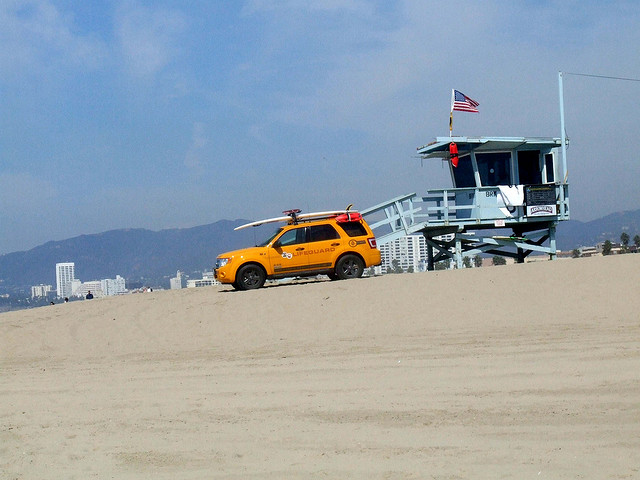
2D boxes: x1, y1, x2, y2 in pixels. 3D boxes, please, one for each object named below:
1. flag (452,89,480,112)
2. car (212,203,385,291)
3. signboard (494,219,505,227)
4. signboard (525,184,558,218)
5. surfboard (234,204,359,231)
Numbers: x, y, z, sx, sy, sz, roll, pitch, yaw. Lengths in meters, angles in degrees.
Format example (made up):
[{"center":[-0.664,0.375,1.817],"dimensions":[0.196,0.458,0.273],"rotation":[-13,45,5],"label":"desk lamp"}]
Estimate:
[{"center":[5.098,-4.846,36.634],"dimensions":[1.213,0.791,0.292],"rotation":[-12,15,-32],"label":"flag"},{"center":[-0.788,0.270,29.058],"dimensions":[4.291,1.960,1.944],"rotation":[0,-4,-9],"label":"car"},{"center":[6.221,-0.602,35.841],"dimensions":[0.371,0.273,0.205],"rotation":[-2,2,2],"label":"signboard"},{"center":[7.706,-1.369,36.328],"dimensions":[1.122,1.102,0.474],"rotation":[-1,1,-3],"label":"signboard"},{"center":[-0.188,-0.481,27.285],"dimensions":[2.930,0.316,0.223],"rotation":[-9,-6,13],"label":"surfboard"}]
